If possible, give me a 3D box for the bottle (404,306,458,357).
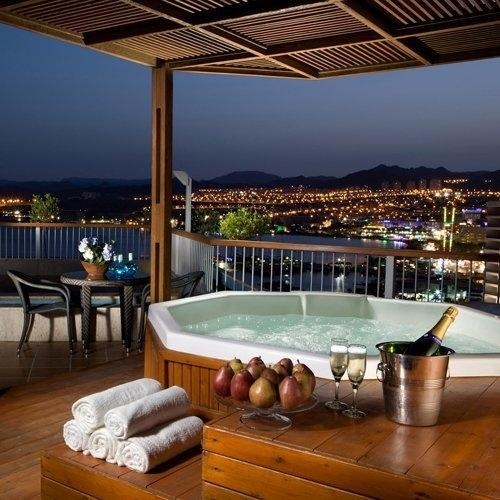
[{"bbox_3d":[0.530,0.243,1.276,0.127,0.161,0.127,6,10,-1],"label":"bottle"}]

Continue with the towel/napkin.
[{"bbox_3d":[-0.393,0.627,1.592,0.384,0.156,0.368,4,5,34],"label":"towel/napkin"}]

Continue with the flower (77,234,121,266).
[{"bbox_3d":[-1.564,0.013,4.330,0.363,0.276,0.206,-1,-1,9],"label":"flower"}]

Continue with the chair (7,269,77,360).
[{"bbox_3d":[-2.209,0.608,4.578,0.585,0.820,1.319,0,-1,-22],"label":"chair"}]

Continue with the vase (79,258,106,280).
[{"bbox_3d":[-1.580,0.202,4.309,0.239,0.111,0.215,4,1,-4],"label":"vase"}]

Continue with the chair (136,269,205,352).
[{"bbox_3d":[-0.955,0.591,4.767,0.722,0.847,0.685,9,8,13],"label":"chair"}]

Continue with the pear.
[{"bbox_3d":[0.070,0.368,1.308,0.297,0.130,0.251,-1,9,-39],"label":"pear"}]

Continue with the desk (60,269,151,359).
[{"bbox_3d":[-1.476,0.624,4.463,0.926,0.663,0.862,1,2,-2],"label":"desk"}]
